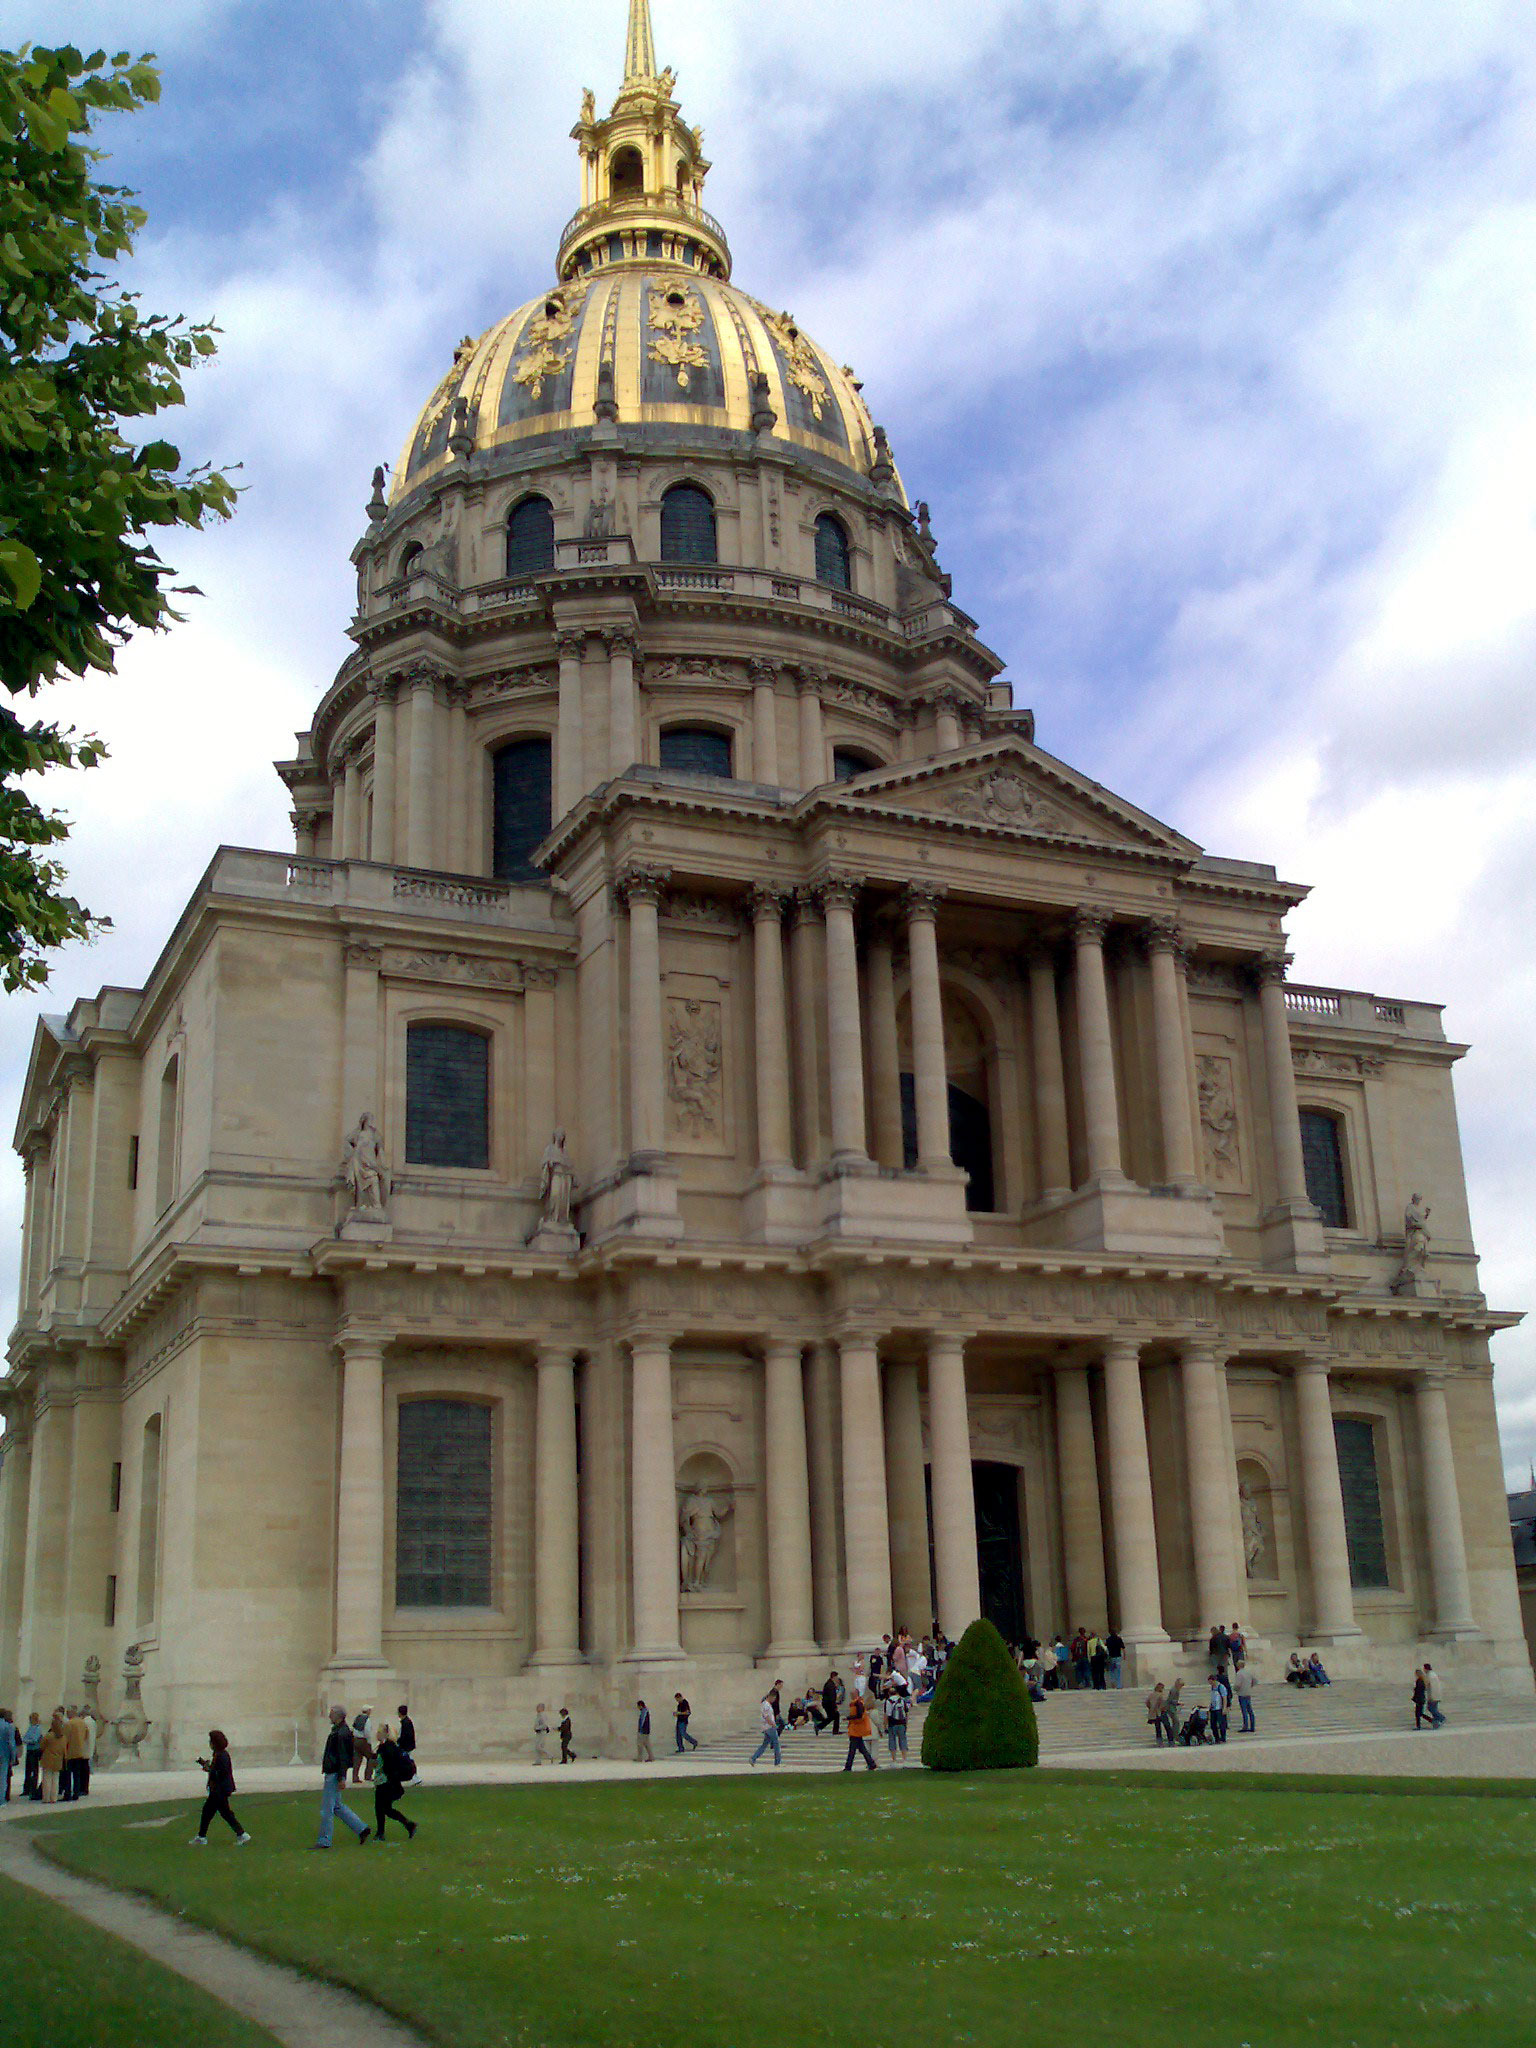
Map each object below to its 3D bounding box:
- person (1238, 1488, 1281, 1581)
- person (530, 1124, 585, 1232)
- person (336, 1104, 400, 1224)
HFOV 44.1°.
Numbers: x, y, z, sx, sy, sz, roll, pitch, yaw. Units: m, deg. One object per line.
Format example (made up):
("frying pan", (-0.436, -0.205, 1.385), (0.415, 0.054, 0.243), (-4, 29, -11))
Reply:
("person", (11.897, 12.039, 45.759), (1.084, 2.628, 0.313), (7, -22, -26))
("person", (-4.590, 3.447, 41.161), (0.943, 2.674, 1.264), (-1, -20, -5))
("person", (-8.310, 3.015, 39.220), (1.042, 2.621, 1.085), (4, -21, -21))
